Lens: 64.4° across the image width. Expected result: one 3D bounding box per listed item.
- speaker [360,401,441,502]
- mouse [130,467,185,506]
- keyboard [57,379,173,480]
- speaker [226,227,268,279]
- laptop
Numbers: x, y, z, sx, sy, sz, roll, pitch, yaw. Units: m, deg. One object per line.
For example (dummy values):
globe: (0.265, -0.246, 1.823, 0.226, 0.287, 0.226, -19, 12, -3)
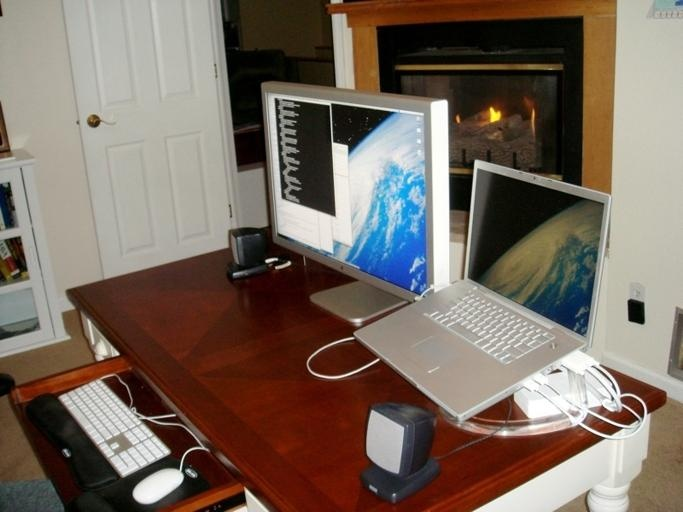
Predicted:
speaker: (0.102, 0.348, 1.088, 0.161, 0.184, 0.131, -23, 32, -36)
mouse: (-0.391, 0.475, 1.135, 0.087, 0.021, 0.060, -26, 41, -35)
keyboard: (-0.555, 0.351, 1.278, 0.118, 0.038, 0.367, -18, 37, -32)
speaker: (-0.326, -0.033, 1.891, 0.144, 0.176, 0.161, -13, 27, -27)
laptop: (0.345, 0.099, 1.347, 0.552, 0.500, 0.541, -26, 37, -27)
